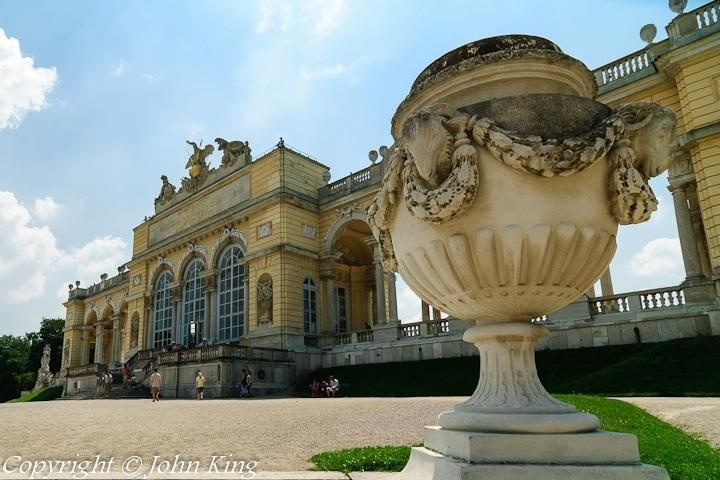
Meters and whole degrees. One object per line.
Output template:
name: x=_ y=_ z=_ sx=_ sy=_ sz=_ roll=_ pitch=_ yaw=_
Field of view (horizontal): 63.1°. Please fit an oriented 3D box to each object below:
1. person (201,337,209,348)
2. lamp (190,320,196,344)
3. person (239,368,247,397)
person: x=-9.469 y=6.129 z=35.644 sx=0.471 sy=0.579 sz=1.989 roll=-1 pitch=-12 yaw=-16
lamp: x=-10.763 y=5.974 z=37.640 sx=0.281 sy=1.495 sz=0.890 roll=5 pitch=-15 yaw=-39
person: x=-5.402 y=6.596 z=26.865 sx=0.294 sy=1.118 sz=0.674 roll=2 pitch=-14 yaw=-31
